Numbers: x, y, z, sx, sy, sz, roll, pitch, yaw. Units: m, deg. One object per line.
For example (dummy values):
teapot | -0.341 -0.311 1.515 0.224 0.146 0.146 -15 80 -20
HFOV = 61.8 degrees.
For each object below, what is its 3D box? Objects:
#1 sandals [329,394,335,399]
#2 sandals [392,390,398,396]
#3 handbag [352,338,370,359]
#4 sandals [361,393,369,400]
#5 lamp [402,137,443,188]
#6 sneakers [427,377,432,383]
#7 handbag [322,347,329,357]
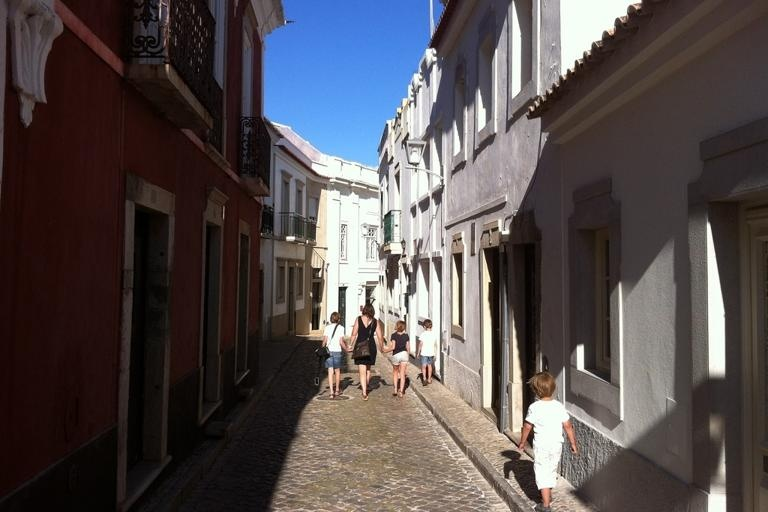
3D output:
sandals | -1.063 2.913 13.316 0.049 0.083 0.174 0 -6 5
sandals | 0.247 2.965 13.915 0.113 0.146 0.067 6 -7 -14
handbag | -0.441 1.847 12.922 0.278 0.307 0.111 -17 -20 28
sandals | -0.392 2.918 13.350 0.108 0.150 0.333 1 1 -1
lamp | 1.097 -2.283 15.704 0.770 1.226 0.579 -3 7 23
sneakers | 1.102 2.904 15.053 0.065 0.108 0.251 -3 -21 3
handbag | -1.203 1.985 13.317 0.135 0.198 0.165 3 -7 -13
